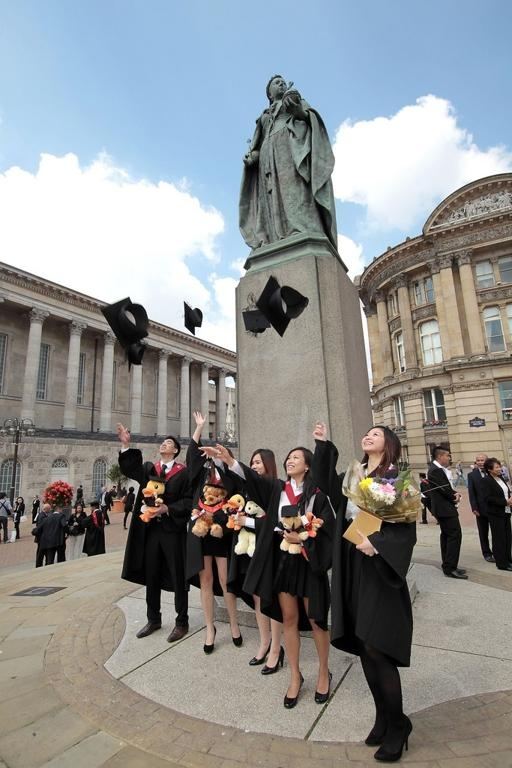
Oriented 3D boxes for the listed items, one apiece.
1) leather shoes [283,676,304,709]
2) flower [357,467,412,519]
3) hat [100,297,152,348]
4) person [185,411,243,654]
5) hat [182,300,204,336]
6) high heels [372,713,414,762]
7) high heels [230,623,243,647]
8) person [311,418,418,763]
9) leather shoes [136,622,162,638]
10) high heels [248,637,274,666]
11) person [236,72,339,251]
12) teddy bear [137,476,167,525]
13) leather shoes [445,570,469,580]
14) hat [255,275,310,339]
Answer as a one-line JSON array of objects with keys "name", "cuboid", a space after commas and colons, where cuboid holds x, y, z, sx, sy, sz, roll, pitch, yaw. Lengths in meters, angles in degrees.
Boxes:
[{"name": "leather shoes", "cuboid": [0.269, 2.439, 3.310, 0.077, 0.078, 0.210, -6, -20, 15]}, {"name": "flower", "cuboid": [0.715, 0.732, 2.858, 0.321, 0.134, 0.327, 19, 28, -7]}, {"name": "hat", "cuboid": [-1.379, -0.701, 4.926, 0.444, 0.497, 0.631, 0, -12, -16]}, {"name": "person", "cuboid": [-0.421, 1.580, 4.562, 0.656, 2.315, 0.665, 14, -26, -34]}, {"name": "hat", "cuboid": [-0.768, -0.804, 5.693, 0.202, 0.500, 0.615, -2, -12, -9]}, {"name": "high heels", "cuboid": [0.796, 2.267, 2.731, 0.326, 0.208, 0.134, 20, -29, -39]}, {"name": "high heels", "cuboid": [-0.177, 2.585, 4.343, 0.067, 0.049, 0.208, -13, 32, 1]}, {"name": "person", "cuboid": [0.725, 1.322, 2.928, 0.477, 2.080, 0.690, 5, -15, -37]}, {"name": "leather shoes", "cuboid": [-1.067, 2.712, 4.669, 0.091, 0.101, 0.257, -7, -15, 28]}, {"name": "high heels", "cuboid": [0.051, 2.539, 3.941, 0.083, 0.100, 0.244, -19, -25, 25]}, {"name": "person", "cuboid": [0.409, -3.462, 6.842, 1.437, 3.170, 0.777, -7, -12, 13]}, {"name": "teddy bear", "cuboid": [-1.061, 1.368, 4.812, 0.331, 0.471, 0.257, -35, -43, 20]}, {"name": "leather shoes", "cuboid": [2.726, 2.867, 6.341, 0.284, 0.124, 0.277, -6, -12, 13]}, {"name": "hat", "cuboid": [0.254, -0.811, 4.651, 0.366, 0.474, 0.609, -10, -13, 27]}]
